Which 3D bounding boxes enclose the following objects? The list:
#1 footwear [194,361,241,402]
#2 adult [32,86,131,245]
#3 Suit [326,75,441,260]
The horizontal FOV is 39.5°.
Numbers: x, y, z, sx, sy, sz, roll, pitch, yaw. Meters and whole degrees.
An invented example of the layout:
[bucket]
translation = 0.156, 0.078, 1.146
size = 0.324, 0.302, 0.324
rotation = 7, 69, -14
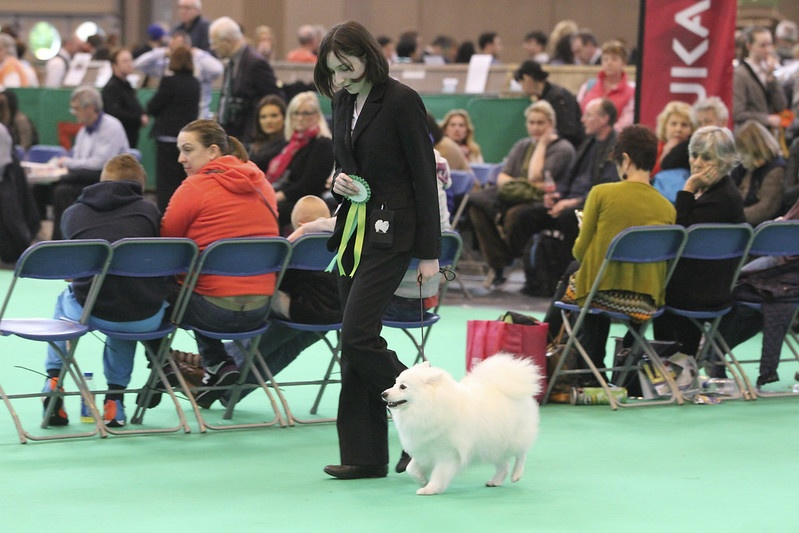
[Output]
[footwear]
translation = -1.279, 0.817, 7.696
size = 0.205, 0.163, 0.476
rotation = 33, -41, -13
[adult]
translation = -3.446, -1.069, 12.208
size = 1.071, 1.756, 0.679
rotation = -9, 12, -36
[Suit]
translation = -0.081, -0.560, 6.380
size = 0.660, 1.013, 0.316
rotation = 3, 13, 11
